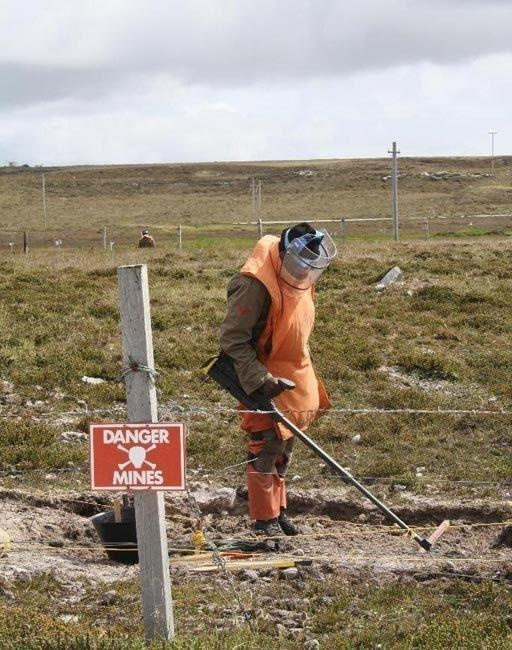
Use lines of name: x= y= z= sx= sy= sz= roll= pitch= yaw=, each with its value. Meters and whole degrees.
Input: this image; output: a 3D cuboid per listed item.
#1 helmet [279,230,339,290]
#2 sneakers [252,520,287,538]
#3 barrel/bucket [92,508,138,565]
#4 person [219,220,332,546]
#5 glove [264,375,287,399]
helmet: x=0.318 y=-0.464 z=8.189 sx=0.350 sy=0.422 sz=0.310 roll=14 pitch=-47 yaw=-27
sneakers: x=0.101 y=1.471 z=8.717 sx=0.271 sy=0.199 sz=0.093 roll=1 pitch=7 yaw=3
barrel/bucket: x=-1.017 y=1.529 z=8.550 sx=0.300 sy=0.382 sz=0.533 roll=-3 pitch=2 yaw=-9
person: x=0.178 y=0.440 z=8.280 sx=0.792 sy=2.269 sz=1.110 roll=-2 pitch=2 yaw=3
glove: x=0.119 y=0.404 z=7.832 sx=0.144 sy=0.113 sz=0.087 roll=-20 pitch=-23 yaw=14
